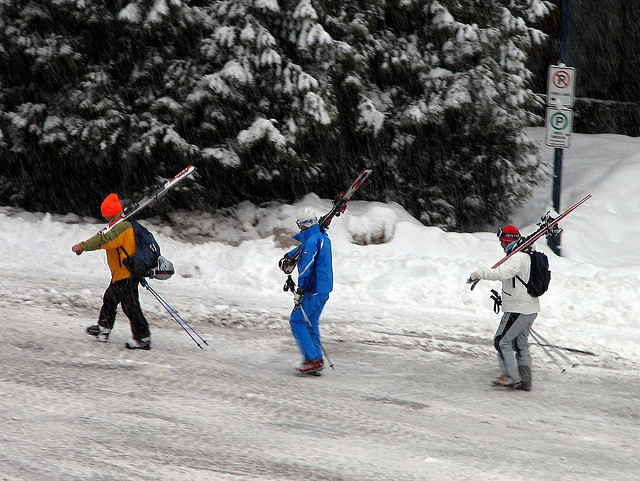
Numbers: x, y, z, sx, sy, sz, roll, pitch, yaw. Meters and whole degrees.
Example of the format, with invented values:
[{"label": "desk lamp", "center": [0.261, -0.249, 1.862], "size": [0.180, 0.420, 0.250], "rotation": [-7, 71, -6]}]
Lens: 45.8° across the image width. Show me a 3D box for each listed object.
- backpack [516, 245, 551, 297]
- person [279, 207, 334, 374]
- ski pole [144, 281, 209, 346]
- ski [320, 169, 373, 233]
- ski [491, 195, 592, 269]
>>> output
[{"label": "backpack", "center": [2.825, 0.402, 10.094], "size": [0.395, 0.663, 0.406], "rotation": [5, 17, 28]}, {"label": "person", "center": [-0.091, 0.607, 10.478], "size": [0.950, 1.985, 0.926], "rotation": [16, 13, 23]}, {"label": "ski pole", "center": [-2.233, 1.144, 11.668], "size": [0.032, 1.317, 0.092], "rotation": [-37, 15, 47]}, {"label": "ski", "center": [0.560, -0.793, 15.308], "size": [0.237, 0.210, 1.998], "rotation": [-12, 34, 48]}, {"label": "ski", "center": [4.206, -0.156, 14.210], "size": [2.654, 0.109, 0.269], "rotation": [-34, 54, -24]}]
